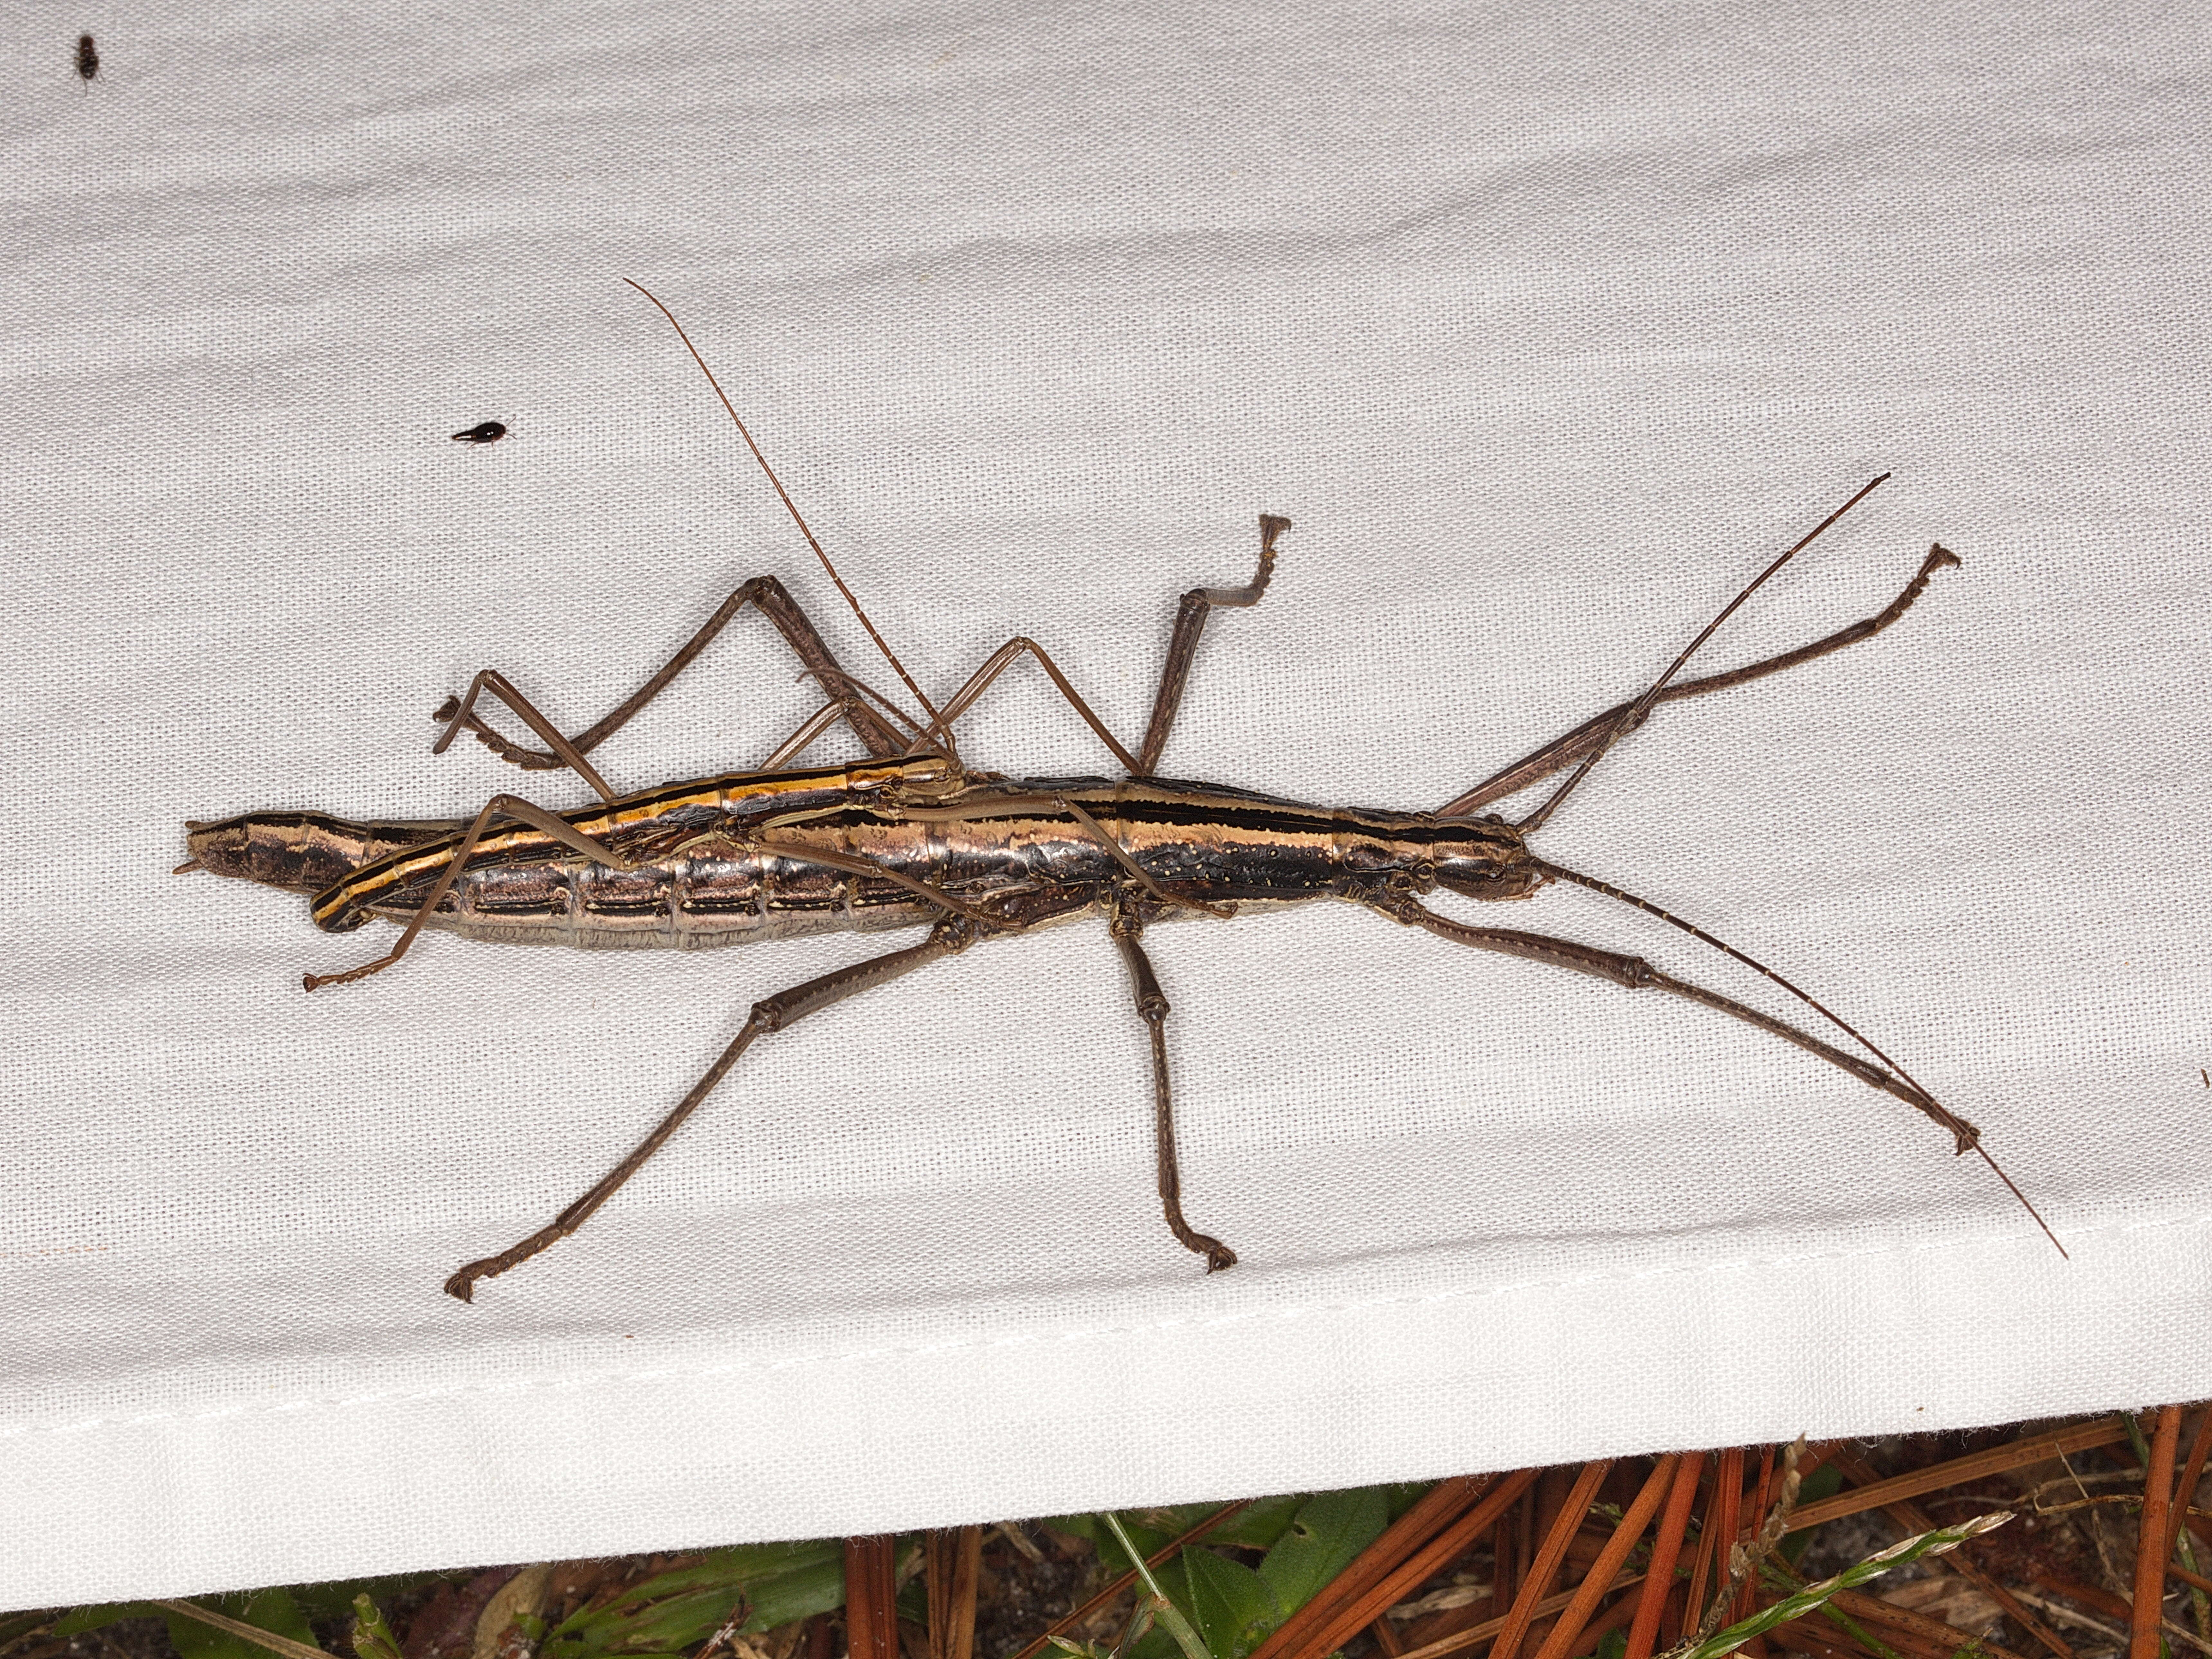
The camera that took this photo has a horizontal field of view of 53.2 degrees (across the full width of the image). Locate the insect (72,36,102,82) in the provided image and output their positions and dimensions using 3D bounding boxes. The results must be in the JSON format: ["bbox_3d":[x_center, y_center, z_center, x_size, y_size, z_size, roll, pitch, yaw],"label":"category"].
[{"bbox_3d":[-2.456,-1.841,5.302,0.122,0.088,0.034,0,-4,-11],"label":"insect"}]
